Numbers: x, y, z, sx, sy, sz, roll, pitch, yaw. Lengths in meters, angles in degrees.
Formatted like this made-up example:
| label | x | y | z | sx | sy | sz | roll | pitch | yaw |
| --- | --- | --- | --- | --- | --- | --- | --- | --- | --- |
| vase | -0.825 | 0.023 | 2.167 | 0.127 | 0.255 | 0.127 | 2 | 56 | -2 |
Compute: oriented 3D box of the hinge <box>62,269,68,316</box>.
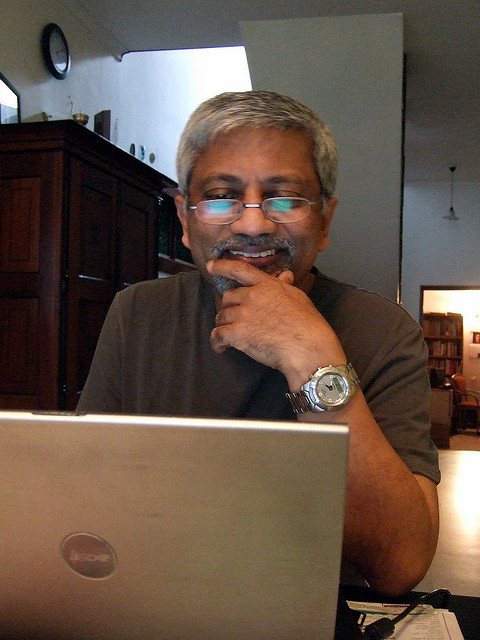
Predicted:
| label | x | y | z | sx | sy | sz | roll | pitch | yaw |
| --- | --- | --- | --- | --- | --- | --- | --- | --- | --- |
| hinge | -0.920 | -0.148 | 3.173 | 0.019 | 0.247 | 0.065 | 4 | 0 | 2 |

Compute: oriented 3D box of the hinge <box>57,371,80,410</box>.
| label | x | y | z | sx | sy | sz | roll | pitch | yaw |
| --- | --- | --- | --- | --- | --- | --- | --- | --- | --- |
| hinge | -0.913 | 0.372 | 3.219 | 0.054 | 0.198 | 0.193 | 4 | 0 | 9 |

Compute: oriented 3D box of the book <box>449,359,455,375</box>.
| label | x | y | z | sx | sy | sz | roll | pitch | yaw |
| --- | --- | --- | --- | --- | --- | --- | --- | --- | --- |
| book | 3.624 | 0.791 | 10.289 | 0.084 | 0.243 | 0.046 | 4 | 0 | 9 |

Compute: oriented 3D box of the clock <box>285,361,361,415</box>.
| label | x | y | z | sx | sy | sz | roll | pitch | yaw |
| --- | --- | --- | --- | --- | --- | --- | --- | --- | --- |
| clock | 0.109 | 0.088 | 0.767 | 0.098 | 0.045 | 0.079 | -15 | -11 | -4 |

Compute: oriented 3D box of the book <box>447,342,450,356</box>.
| label | x | y | z | sx | sy | sz | roll | pitch | yaw |
| --- | --- | --- | --- | --- | --- | --- | --- | --- | --- |
| book | 3.569 | 0.494 | 10.311 | 0.044 | 0.216 | 0.025 | 4 | 0 | 11 |
